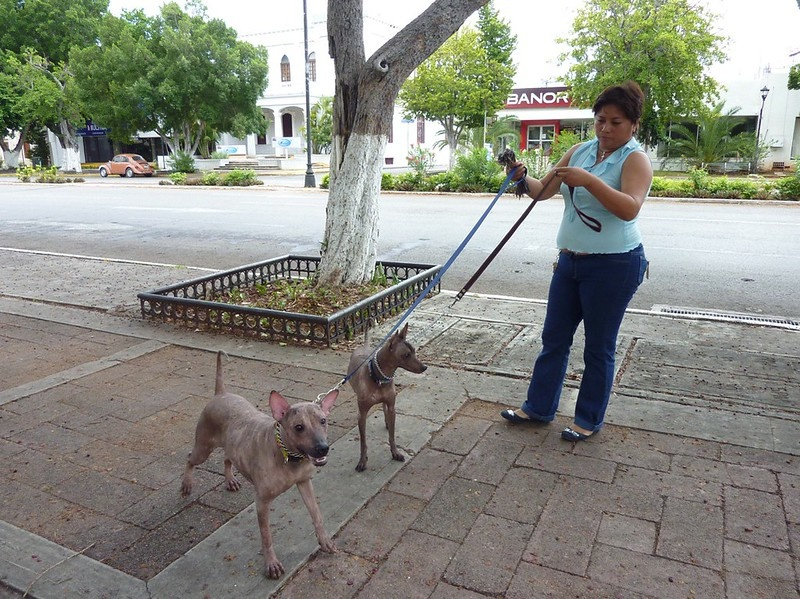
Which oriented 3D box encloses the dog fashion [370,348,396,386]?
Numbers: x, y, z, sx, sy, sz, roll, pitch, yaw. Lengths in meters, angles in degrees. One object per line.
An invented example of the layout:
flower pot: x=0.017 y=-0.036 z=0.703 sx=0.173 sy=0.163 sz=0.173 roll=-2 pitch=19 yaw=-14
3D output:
dog fashion: x=-0.142 y=0.513 z=3.929 sx=0.208 sy=0.081 sz=0.171 roll=44 pitch=-13 yaw=2

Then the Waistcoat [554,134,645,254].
Waistcoat: x=1.466 y=-0.760 z=4.004 sx=0.626 sy=0.861 sz=0.494 roll=10 pitch=17 yaw=35
